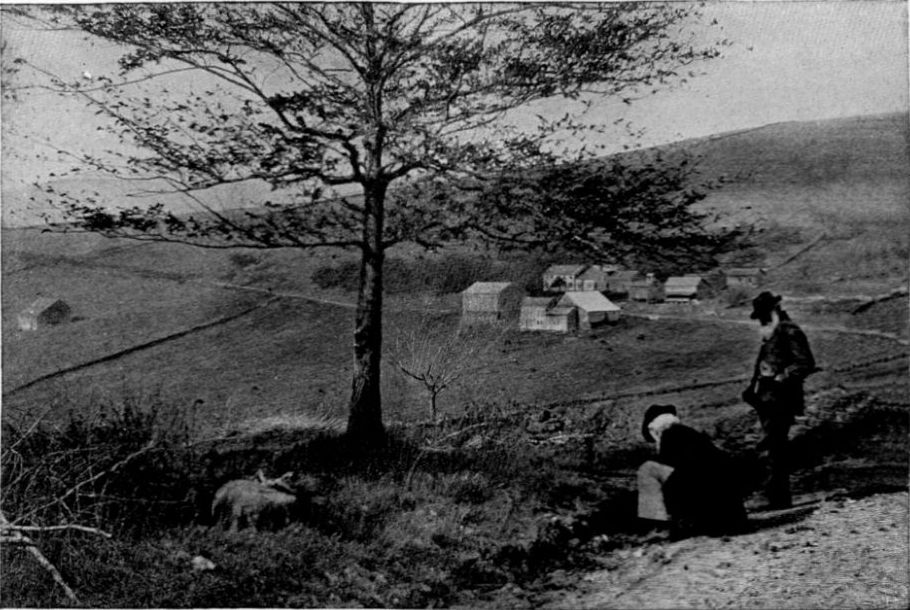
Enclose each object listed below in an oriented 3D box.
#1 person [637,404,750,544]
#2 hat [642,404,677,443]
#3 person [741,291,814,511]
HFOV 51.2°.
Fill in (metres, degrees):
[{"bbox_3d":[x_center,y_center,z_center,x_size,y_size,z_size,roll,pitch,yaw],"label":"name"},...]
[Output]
[{"bbox_3d":[2.213,1.628,9.931,1.365,1.413,1.176,3,7,41],"label":"person"},{"bbox_3d":[2.008,1.185,9.748,0.121,0.405,0.442,27,14,-2],"label":"hat"},{"bbox_3d":[3.444,0.995,10.106,0.546,2.242,0.715,-7,7,-39],"label":"person"}]
